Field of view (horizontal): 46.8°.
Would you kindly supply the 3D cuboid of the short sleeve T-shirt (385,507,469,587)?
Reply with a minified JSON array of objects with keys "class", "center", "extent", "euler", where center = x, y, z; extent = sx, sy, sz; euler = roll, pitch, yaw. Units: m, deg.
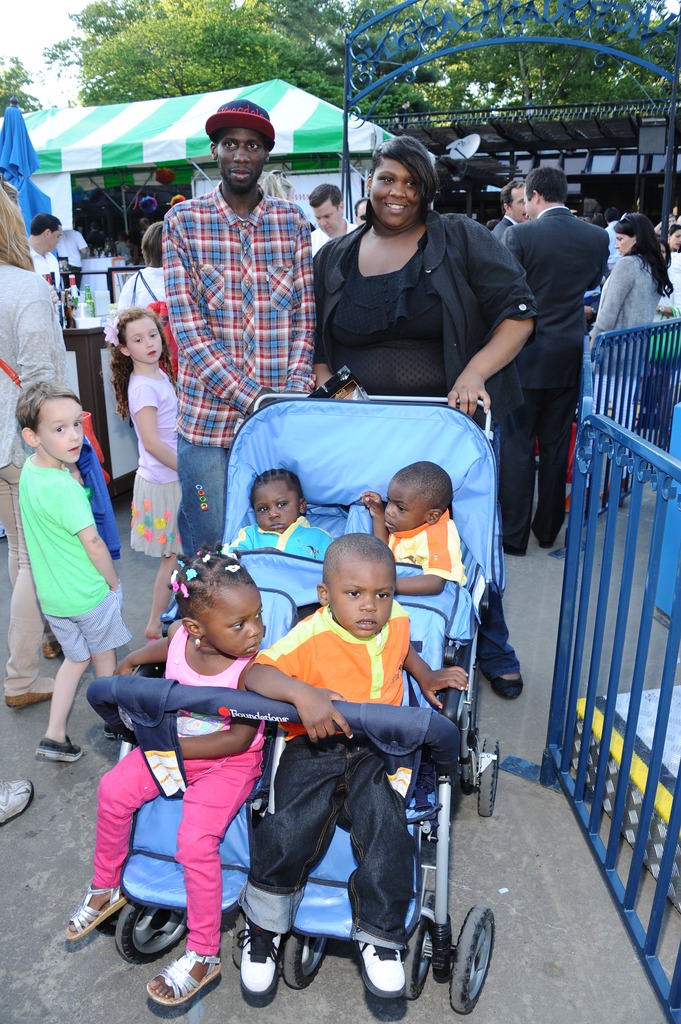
[{"class":"short sleeve T-shirt","center":[0.239,0.104,2.246],"extent":[0.159,0.225,0.277],"euler":[3,-1,-17]}]

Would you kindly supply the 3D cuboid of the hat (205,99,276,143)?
[{"class":"hat","center":[-0.351,-1.384,2.754],"extent":[0.229,0.162,0.225],"euler":[-2,14,-5]}]

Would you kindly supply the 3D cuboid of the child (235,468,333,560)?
[{"class":"child","center":[-0.175,0.032,2.543],"extent":[0.374,0.341,0.247],"euler":[1,-5,4]}]

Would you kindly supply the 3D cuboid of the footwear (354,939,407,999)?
[{"class":"footwear","center":[0.082,0.895,1.554],"extent":[0.085,0.119,0.101],"euler":[-1,14,-1]}]

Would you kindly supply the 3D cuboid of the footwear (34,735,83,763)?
[{"class":"footwear","center":[-1.057,0.902,3.003],"extent":[0.078,0.084,0.179],"euler":[1,-7,36]}]

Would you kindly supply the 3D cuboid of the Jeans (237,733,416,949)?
[{"class":"Jeans","center":[-0.014,0.664,1.652],"extent":[0.331,0.307,0.330],"euler":[1,14,8]}]

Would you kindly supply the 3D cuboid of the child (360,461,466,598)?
[{"class":"child","center":[0.238,0.039,2.302],"extent":[0.321,0.452,0.382],"euler":[-3,17,6]}]
